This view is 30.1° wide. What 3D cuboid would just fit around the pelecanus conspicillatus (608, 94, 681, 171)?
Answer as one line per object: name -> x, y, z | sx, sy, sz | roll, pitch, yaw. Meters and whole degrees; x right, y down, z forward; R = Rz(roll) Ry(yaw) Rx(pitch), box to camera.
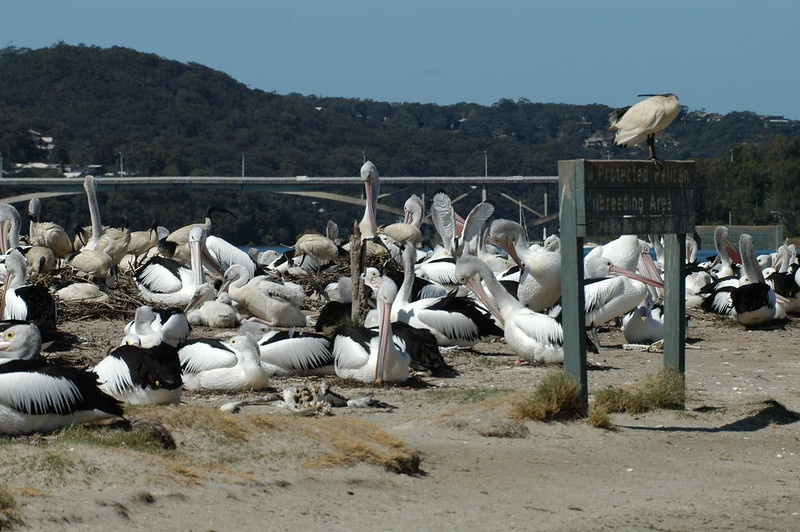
pelecanus conspicillatus -> 4.466, -2.457, 27.174 | 1.355, 1.308, 0.766 | -1, -2, 3
